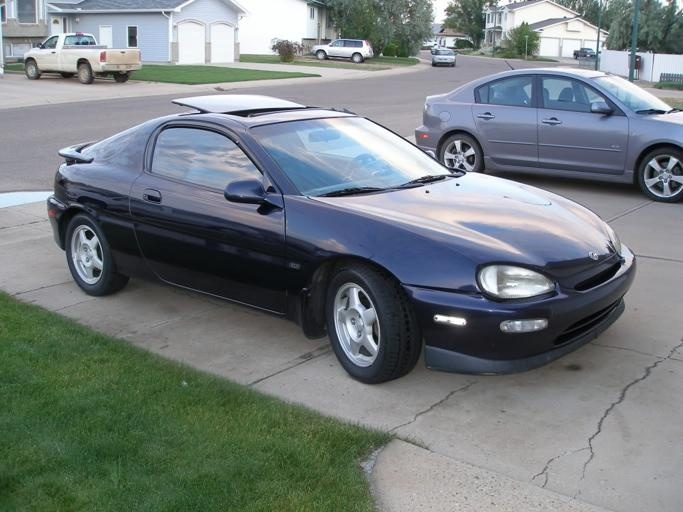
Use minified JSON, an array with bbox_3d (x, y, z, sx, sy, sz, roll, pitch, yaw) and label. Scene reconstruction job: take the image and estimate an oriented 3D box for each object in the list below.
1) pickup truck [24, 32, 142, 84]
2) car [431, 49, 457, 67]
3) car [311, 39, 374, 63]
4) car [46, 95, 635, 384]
[{"bbox_3d":[-14.585,-10.982,29.645,6.165,2.705,1.937,7,18,24],"label":"pickup truck"},{"bbox_3d":[10.742,-21.080,56.336,1.844,1.097,3.004,1,15,7],"label":"car"},{"bbox_3d":[0.143,-20.368,53.226,5.955,1.996,2.586,11,27,15],"label":"car"},{"bbox_3d":[-0.315,-0.456,5.049,5.403,2.103,2.235,9,19,31],"label":"car"}]
